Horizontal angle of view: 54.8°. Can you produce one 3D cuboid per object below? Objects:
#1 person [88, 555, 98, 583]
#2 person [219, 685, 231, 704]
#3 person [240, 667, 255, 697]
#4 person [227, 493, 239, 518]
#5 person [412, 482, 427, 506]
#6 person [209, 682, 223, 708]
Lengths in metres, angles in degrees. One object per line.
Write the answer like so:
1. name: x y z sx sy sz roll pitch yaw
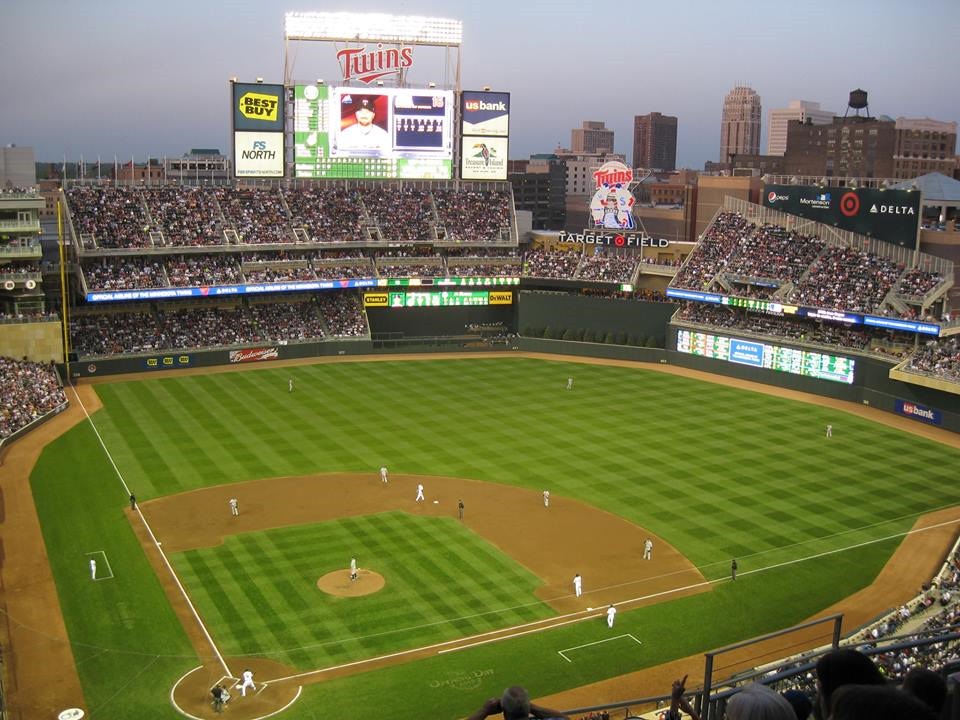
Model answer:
1. person: -18.024 9.597 43.494 0.387 0.431 1.563 8 12 -28
2. person: -9.540 12.516 34.999 0.519 0.770 0.477 2 -1 -16
3. person: -8.848 12.201 35.454 0.691 0.273 0.849 1 38 -23
4. person: -13.230 7.759 49.688 0.785 0.867 0.340 7 22 11
5. person: -3.349 7.275 51.535 0.936 1.257 0.674 -17 28 -36
6. person: -9.868 12.449 34.900 0.443 0.768 1.006 -8 17 -21
